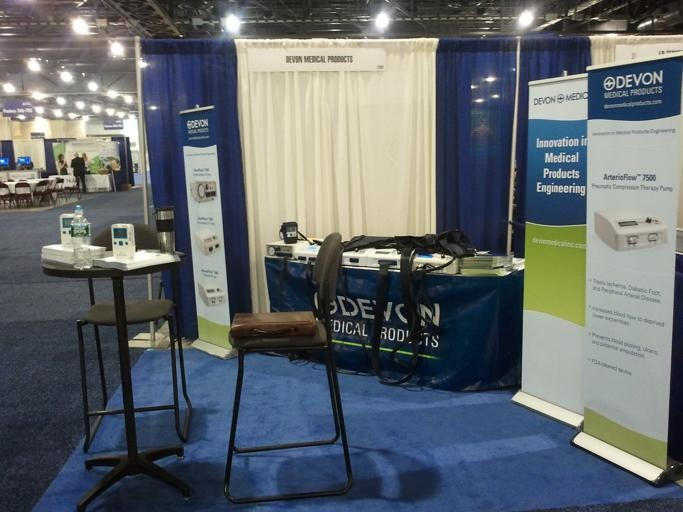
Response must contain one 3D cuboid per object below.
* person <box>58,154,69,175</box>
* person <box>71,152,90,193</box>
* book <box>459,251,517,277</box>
[{"bbox_3d":[-9.851,-3.219,19.735,0.276,0.688,1.179,-8,13,-26],"label":"person"},{"bbox_3d":[-9.078,-2.841,19.415,0.482,1.408,2.244,-7,12,-23],"label":"person"},{"bbox_3d":[1.110,0.054,4.038,0.557,0.128,0.255,-6,12,-19],"label":"book"}]
